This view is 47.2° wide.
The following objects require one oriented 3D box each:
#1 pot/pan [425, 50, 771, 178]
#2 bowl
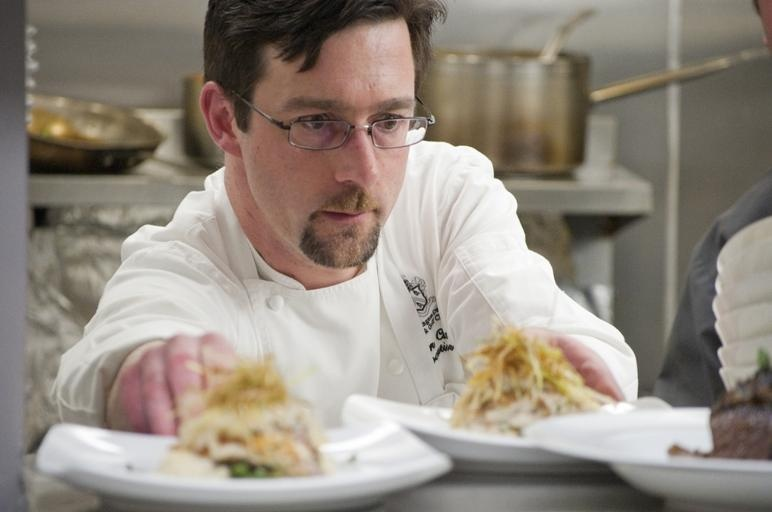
[{"bbox_3d":[0.349,-0.251,1.469,0.504,0.187,0.238,2,3,13],"label":"pot/pan"},{"bbox_3d":[-0.479,-0.192,1.421,0.159,0.030,0.117,2,33,-3],"label":"bowl"}]
